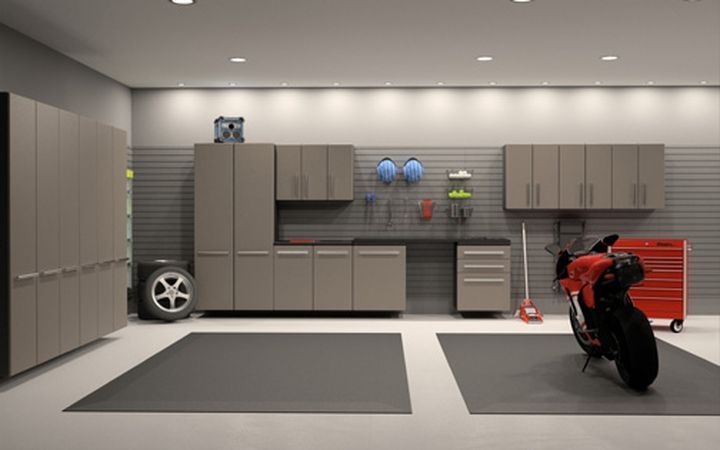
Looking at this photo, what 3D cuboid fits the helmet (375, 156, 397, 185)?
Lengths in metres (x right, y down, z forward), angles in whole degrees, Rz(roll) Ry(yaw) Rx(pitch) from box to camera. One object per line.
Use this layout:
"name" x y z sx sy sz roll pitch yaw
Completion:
"helmet" 0.435 -0.889 9.432 0.336 0.435 0.144 1 1 2

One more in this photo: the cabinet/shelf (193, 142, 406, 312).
"cabinet/shelf" -1.035 0.073 9.176 2.960 2.367 0.820 0 -4 0

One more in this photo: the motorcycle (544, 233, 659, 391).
"motorcycle" 2.880 1.000 6.618 0.601 1.615 1.286 -6 14 -26

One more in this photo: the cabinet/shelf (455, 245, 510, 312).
"cabinet/shelf" 1.830 0.947 9.518 1.055 1.373 1.020 -1 -9 2

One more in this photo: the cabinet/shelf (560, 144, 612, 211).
"cabinet/shelf" 3.694 -0.792 9.128 1.085 1.305 0.526 0 -1 4

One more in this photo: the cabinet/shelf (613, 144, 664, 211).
"cabinet/shelf" 4.496 -0.768 9.089 0.809 1.022 0.260 -1 12 -4

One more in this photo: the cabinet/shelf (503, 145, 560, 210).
"cabinet/shelf" 2.843 -0.780 9.192 1.102 1.241 0.611 0 -2 4

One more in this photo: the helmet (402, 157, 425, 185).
"helmet" 0.903 -0.913 9.457 0.362 0.465 0.127 1 2 0

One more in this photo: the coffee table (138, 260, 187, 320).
"coffee table" -3.110 1.077 8.955 0.918 0.866 0.673 -3 12 -14

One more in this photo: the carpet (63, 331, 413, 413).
"carpet" -1.155 1.786 7.000 3.469 0.109 2.219 0 11 1
